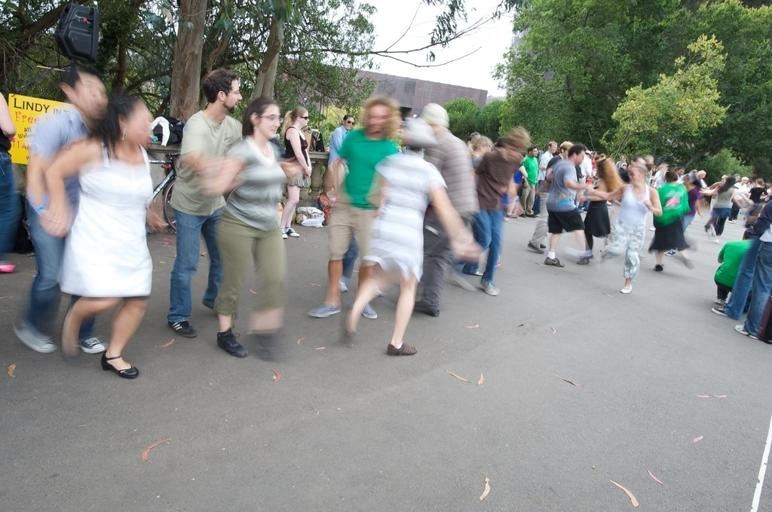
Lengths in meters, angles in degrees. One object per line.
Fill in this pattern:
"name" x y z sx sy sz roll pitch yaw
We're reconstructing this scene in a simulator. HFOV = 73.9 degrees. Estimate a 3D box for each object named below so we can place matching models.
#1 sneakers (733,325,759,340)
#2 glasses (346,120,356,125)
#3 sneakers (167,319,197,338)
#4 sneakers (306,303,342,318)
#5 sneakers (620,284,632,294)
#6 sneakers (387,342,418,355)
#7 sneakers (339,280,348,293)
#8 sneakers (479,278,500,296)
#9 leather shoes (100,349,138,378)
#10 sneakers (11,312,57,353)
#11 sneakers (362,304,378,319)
"sneakers" 5.193 1.106 7.389 0.089 0.099 0.221 0 27 -46
"glasses" -0.758 -2.753 10.536 0.138 0.068 0.142 6 -1 -42
"sneakers" -2.137 0.738 5.363 0.343 0.142 0.139 8 19 19
"sneakers" -0.768 0.661 6.254 0.340 0.122 0.155 -3 6 -40
"sneakers" 4.099 0.576 8.722 0.114 0.120 0.309 -10 -8 33
"sneakers" 0.166 0.979 5.448 0.267 0.107 0.134 -3 6 -19
"sneakers" -0.574 0.415 6.996 0.125 0.144 0.150 0 -3 -1
"sneakers" 1.554 0.486 7.829 0.182 0.116 0.279 -9 13 -24
"leather shoes" -2.383 0.982 4.600 0.358 0.148 0.179 13 13 3
"sneakers" -3.309 0.704 4.778 0.466 0.207 0.200 31 21 -10
"sneakers" -0.222 0.684 6.327 0.127 0.080 0.207 -12 18 -34
